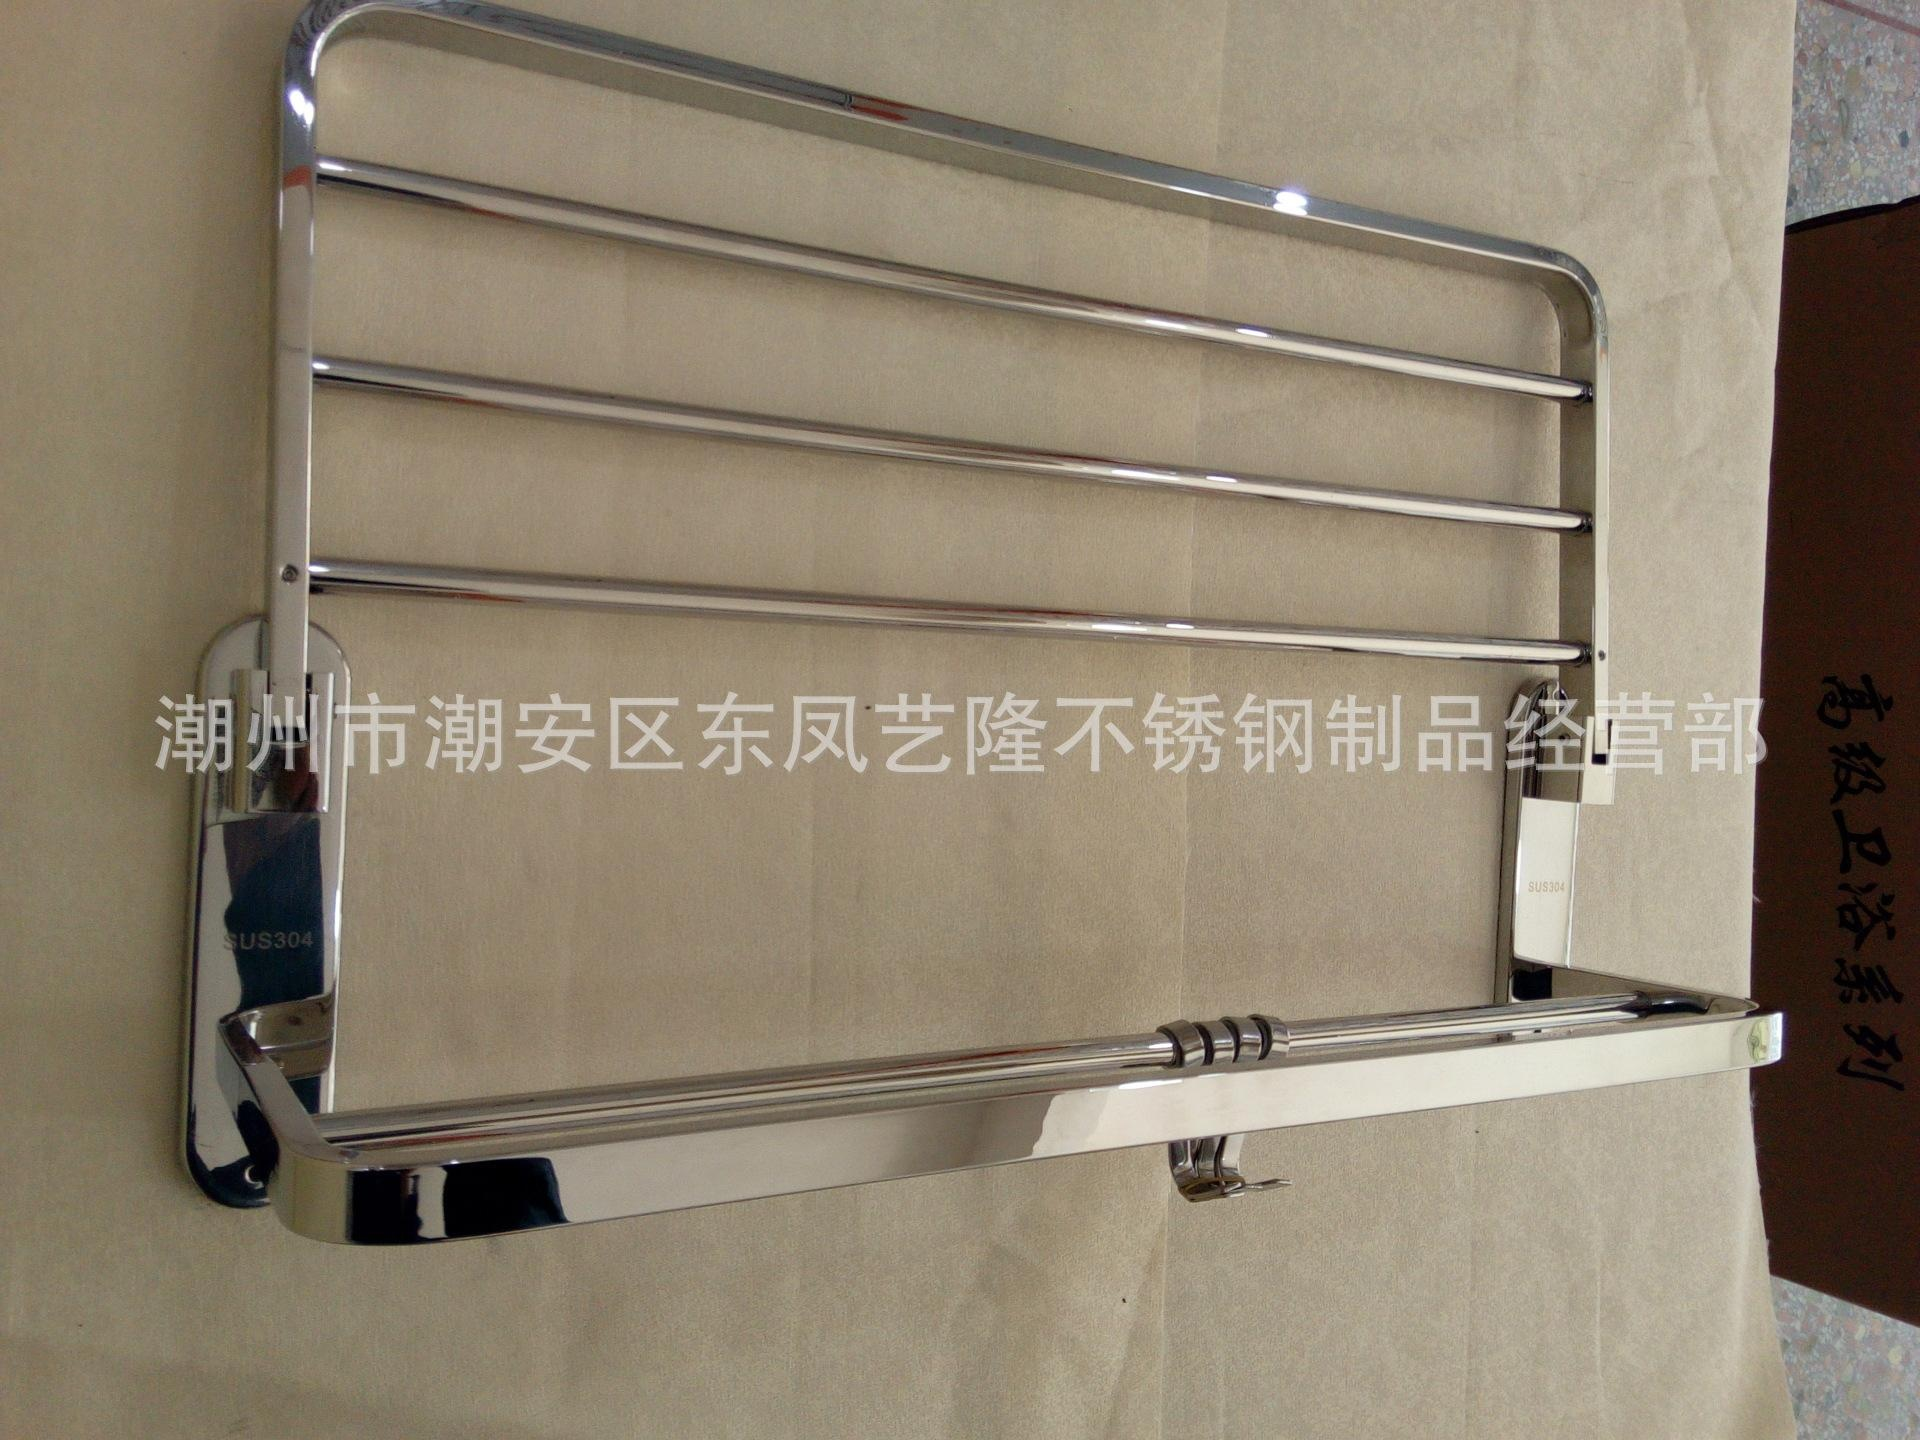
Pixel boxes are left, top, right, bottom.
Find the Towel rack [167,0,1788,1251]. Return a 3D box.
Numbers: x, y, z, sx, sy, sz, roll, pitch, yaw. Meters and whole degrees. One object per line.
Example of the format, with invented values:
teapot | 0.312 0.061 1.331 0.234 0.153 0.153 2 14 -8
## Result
Towel rack | 0.010 -0.081 1.229 1.012 0.390 0.739 -4 81 -5
